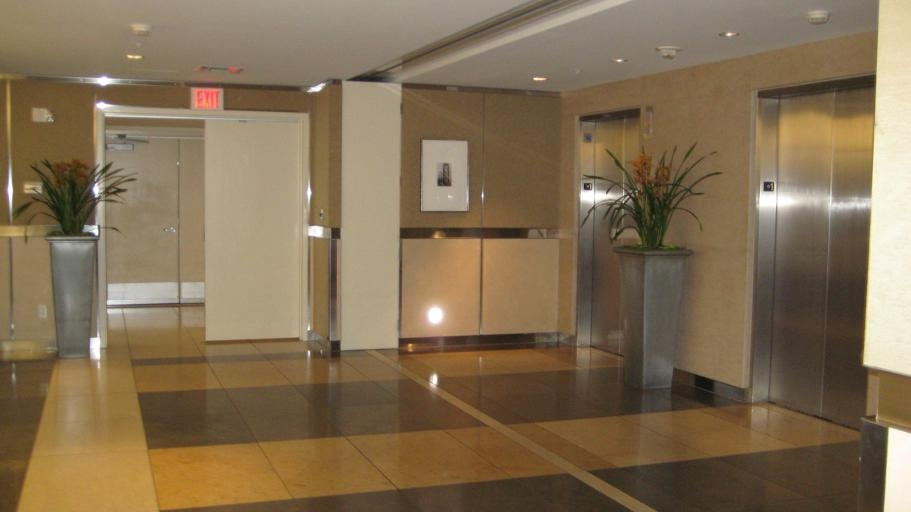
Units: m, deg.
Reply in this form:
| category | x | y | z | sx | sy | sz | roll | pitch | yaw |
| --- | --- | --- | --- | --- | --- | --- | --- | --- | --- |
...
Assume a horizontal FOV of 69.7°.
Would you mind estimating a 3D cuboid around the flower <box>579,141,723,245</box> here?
| category | x | y | z | sx | sy | sz | roll | pitch | yaw |
| --- | --- | --- | --- | --- | --- | --- | --- | --- | --- |
| flower | 2.454 | -0.658 | 8.320 | 1.785 | 1.079 | 1.647 | 2 | 7 | -22 |

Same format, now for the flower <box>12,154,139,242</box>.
| category | x | y | z | sx | sy | sz | roll | pitch | yaw |
| --- | --- | --- | --- | --- | --- | --- | --- | --- | --- |
| flower | -5.551 | -0.775 | 9.462 | 1.559 | 0.916 | 1.460 | -7 | 10 | -27 |

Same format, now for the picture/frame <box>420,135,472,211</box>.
| category | x | y | z | sx | sy | sz | roll | pitch | yaw |
| --- | --- | --- | --- | --- | --- | --- | --- | --- | --- |
| picture/frame | -0.171 | -1.238 | 10.003 | 0.935 | 1.082 | 0.032 | -7 | 12 | -41 |
